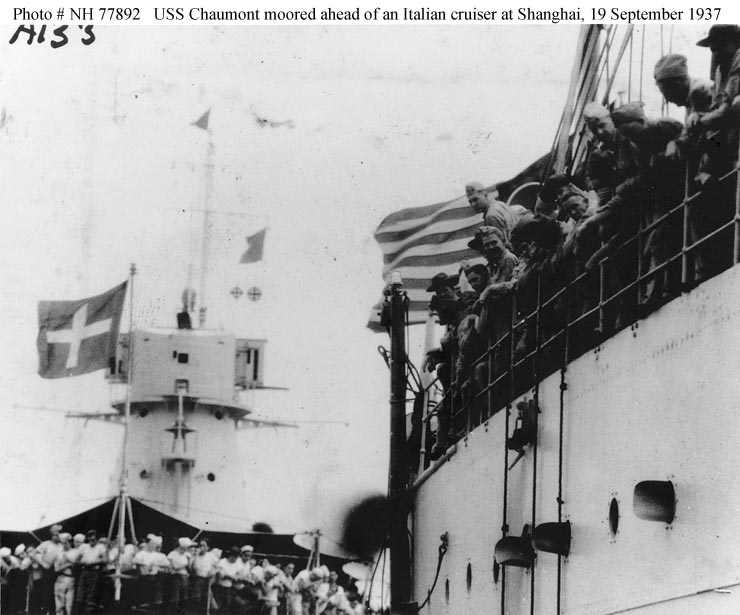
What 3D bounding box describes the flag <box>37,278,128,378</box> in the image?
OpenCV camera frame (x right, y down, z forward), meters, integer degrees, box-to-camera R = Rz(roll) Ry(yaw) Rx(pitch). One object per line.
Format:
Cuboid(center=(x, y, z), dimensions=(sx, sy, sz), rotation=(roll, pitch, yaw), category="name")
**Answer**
Cuboid(center=(-2.320, 0.142, 18.586), dimensions=(0.731, 0.781, 0.059), rotation=(-4, -6, -15), category="flag")
